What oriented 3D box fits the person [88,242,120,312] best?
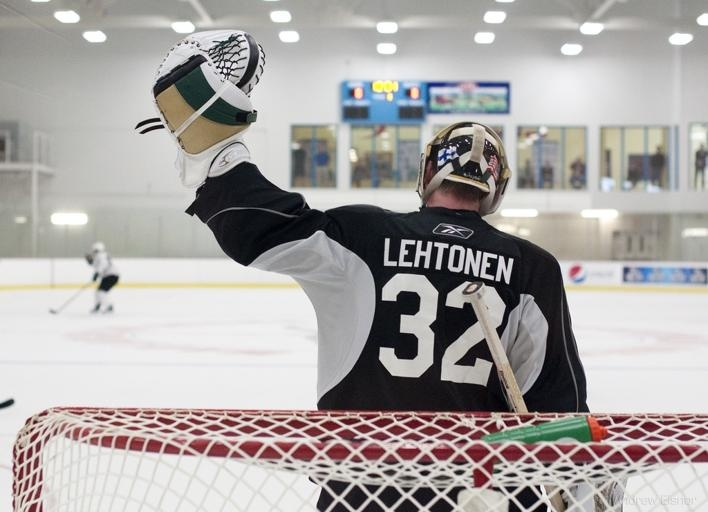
[{"bbox_3d":[-4.385,0.325,16.623,0.501,1.106,1.722,-1,6,-16],"label":"person"}]
